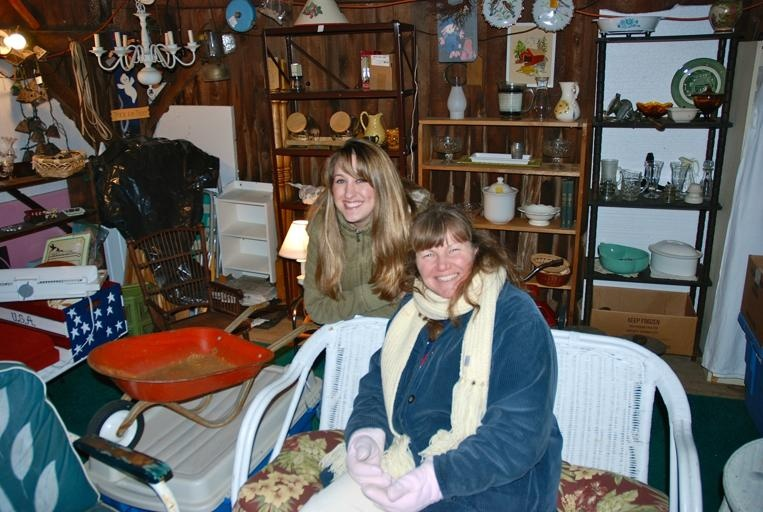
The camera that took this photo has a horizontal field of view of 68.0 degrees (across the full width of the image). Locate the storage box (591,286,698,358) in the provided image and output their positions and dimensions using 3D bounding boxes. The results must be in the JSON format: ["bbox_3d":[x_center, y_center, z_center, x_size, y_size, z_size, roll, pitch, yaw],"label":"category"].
[{"bbox_3d":[2.287,0.505,4.836,0.856,0.385,0.590,5,26,15],"label":"storage box"}]

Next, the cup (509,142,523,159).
[{"bbox_3d":[1.191,-0.925,4.967,0.114,0.144,0.214,3,10,12],"label":"cup"}]

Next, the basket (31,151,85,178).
[{"bbox_3d":[-2.821,-0.785,4.994,0.293,0.122,0.308,13,20,30],"label":"basket"}]

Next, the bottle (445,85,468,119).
[{"bbox_3d":[0.654,-1.336,4.947,0.170,0.307,0.264,2,10,9],"label":"bottle"}]

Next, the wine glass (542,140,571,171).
[{"bbox_3d":[1.507,-0.888,4.887,0.217,0.246,0.332,3,10,15],"label":"wine glass"}]

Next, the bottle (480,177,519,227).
[{"bbox_3d":[1.012,-0.474,4.892,0.374,0.484,0.378,0,11,0],"label":"bottle"}]

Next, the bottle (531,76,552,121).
[{"bbox_3d":[1.327,-1.312,4.722,0.120,0.341,0.109,0,9,0],"label":"bottle"}]

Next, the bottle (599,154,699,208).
[{"bbox_3d":[2.209,-0.632,4.646,0.788,0.413,0.454,5,10,23],"label":"bottle"}]

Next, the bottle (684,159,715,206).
[{"bbox_3d":[2.542,-0.599,4.557,0.205,0.352,0.366,6,11,28],"label":"bottle"}]

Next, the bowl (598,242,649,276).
[{"bbox_3d":[2.035,0.018,4.818,0.277,0.152,0.332,-4,18,-8],"label":"bowl"}]

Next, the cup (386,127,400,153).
[{"bbox_3d":[0.096,-1.045,5.082,0.200,0.247,0.196,-1,9,0],"label":"cup"}]

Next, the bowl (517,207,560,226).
[{"bbox_3d":[1.356,-0.364,4.903,0.202,0.096,0.258,9,17,29],"label":"bowl"}]

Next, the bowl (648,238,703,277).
[{"bbox_3d":[2.448,-0.013,4.744,0.397,0.267,0.388,-1,21,0],"label":"bowl"}]

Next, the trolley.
[{"bbox_3d":[-1.035,0.638,3.432,0.628,0.469,1.237,15,21,36],"label":"trolley"}]

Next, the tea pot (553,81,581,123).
[{"bbox_3d":[1.528,-1.257,4.631,0.195,0.317,0.177,2,10,8],"label":"tea pot"}]

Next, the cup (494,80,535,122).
[{"bbox_3d":[1.154,-1.327,4.816,0.348,0.318,0.229,8,28,15],"label":"cup"}]

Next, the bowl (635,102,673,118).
[{"bbox_3d":[2.189,-1.176,4.553,0.266,0.148,0.294,5,11,26],"label":"bowl"}]
